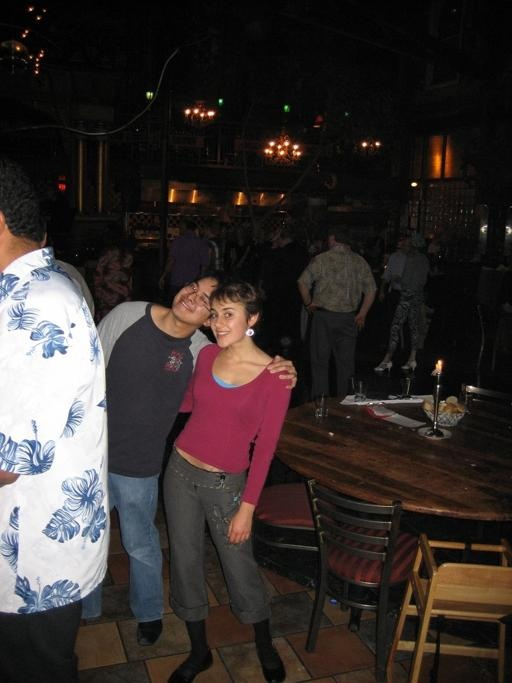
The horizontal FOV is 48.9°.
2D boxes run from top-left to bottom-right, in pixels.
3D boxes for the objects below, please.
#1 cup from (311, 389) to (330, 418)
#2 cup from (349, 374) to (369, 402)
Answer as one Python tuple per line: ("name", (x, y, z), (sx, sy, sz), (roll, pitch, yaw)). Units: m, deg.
("cup", (0.372, 0.373, 3.332), (0.138, 0.184, 0.126), (0, 5, 0))
("cup", (0.671, 0.333, 3.776), (0.155, 0.193, 0.133), (-1, 0, 4))
